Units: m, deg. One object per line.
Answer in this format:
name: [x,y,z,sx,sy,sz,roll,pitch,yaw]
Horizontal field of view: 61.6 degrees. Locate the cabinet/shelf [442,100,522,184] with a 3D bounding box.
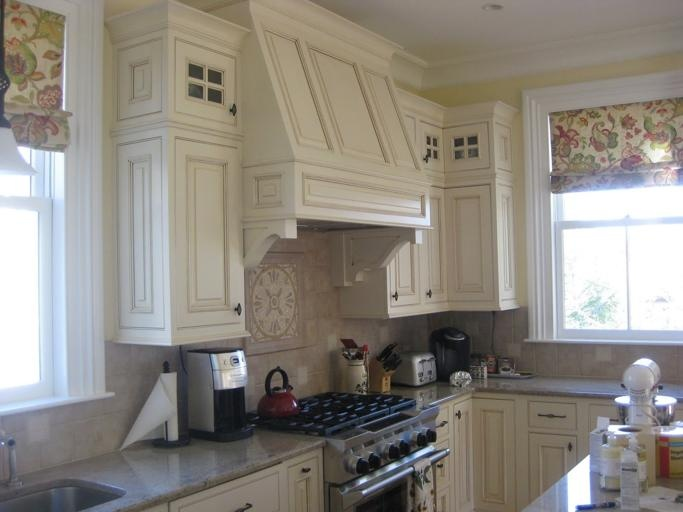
cabinet/shelf: [1.115,-0.917,4.633,0.636,0.651,0.522,3,6,7]

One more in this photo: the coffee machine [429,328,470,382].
coffee machine: [0.879,0.761,4.643,0.282,0.418,0.262,3,2,25]

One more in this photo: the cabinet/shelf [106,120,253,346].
cabinet/shelf: [-0.829,-0.105,2.916,0.385,1.085,0.599,4,5,36]

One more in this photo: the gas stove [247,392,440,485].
gas stove: [0.011,0.991,3.286,0.512,0.168,0.576,-1,0,31]

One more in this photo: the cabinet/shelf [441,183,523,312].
cabinet/shelf: [1.199,-0.075,4.688,0.628,1.008,0.290,0,-1,-22]

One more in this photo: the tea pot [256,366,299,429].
tea pot: [-0.366,0.812,3.339,0.269,0.298,0.274,0,-1,0]

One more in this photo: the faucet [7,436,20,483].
faucet: [-1.405,0.861,2.445,0.048,0.189,0.130,1,-1,-30]

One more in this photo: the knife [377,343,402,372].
knife: [0.333,0.707,4.192,0.163,0.226,0.058,1,8,-24]

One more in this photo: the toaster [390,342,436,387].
toaster: [0.567,0.863,4.471,0.273,0.220,0.264,-5,-6,33]

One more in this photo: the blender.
blender: [1.374,0.628,2.626,0.228,0.299,0.360,-1,-1,37]

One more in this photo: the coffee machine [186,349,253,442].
coffee machine: [-0.652,0.700,3.076,0.270,0.497,0.238,0,4,-43]

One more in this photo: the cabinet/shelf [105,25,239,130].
cabinet/shelf: [-0.853,-0.828,2.903,0.417,0.491,0.667,-5,-6,34]
